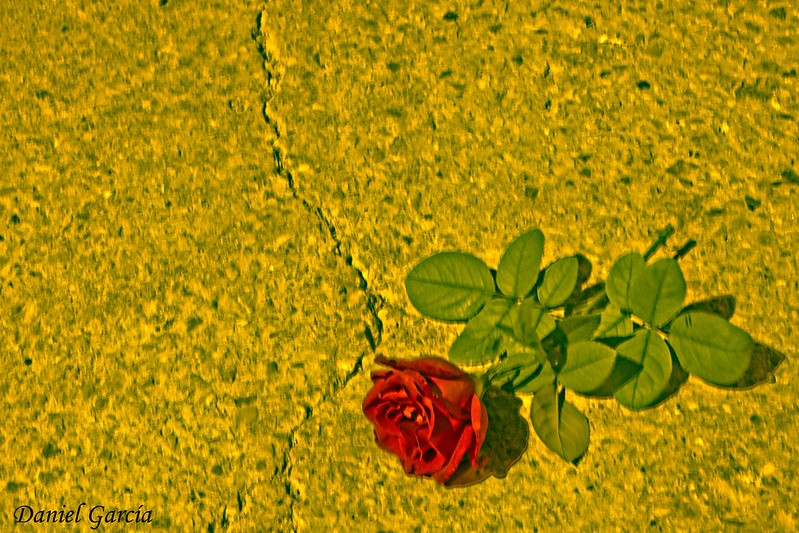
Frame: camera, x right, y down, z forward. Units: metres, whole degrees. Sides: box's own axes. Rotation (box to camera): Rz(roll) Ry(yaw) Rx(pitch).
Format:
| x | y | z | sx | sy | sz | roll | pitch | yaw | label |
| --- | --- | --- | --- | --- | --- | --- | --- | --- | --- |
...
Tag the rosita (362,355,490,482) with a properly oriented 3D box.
| x | y | z | sx | sy | sz | roll | pitch | yaw | label |
| --- | --- | --- | --- | --- | --- | --- | --- | --- | --- |
| 0.053 | 0.271 | 2.268 | 0.097 | 0.285 | 0.209 | -20 | 37 | -14 | rosita |
